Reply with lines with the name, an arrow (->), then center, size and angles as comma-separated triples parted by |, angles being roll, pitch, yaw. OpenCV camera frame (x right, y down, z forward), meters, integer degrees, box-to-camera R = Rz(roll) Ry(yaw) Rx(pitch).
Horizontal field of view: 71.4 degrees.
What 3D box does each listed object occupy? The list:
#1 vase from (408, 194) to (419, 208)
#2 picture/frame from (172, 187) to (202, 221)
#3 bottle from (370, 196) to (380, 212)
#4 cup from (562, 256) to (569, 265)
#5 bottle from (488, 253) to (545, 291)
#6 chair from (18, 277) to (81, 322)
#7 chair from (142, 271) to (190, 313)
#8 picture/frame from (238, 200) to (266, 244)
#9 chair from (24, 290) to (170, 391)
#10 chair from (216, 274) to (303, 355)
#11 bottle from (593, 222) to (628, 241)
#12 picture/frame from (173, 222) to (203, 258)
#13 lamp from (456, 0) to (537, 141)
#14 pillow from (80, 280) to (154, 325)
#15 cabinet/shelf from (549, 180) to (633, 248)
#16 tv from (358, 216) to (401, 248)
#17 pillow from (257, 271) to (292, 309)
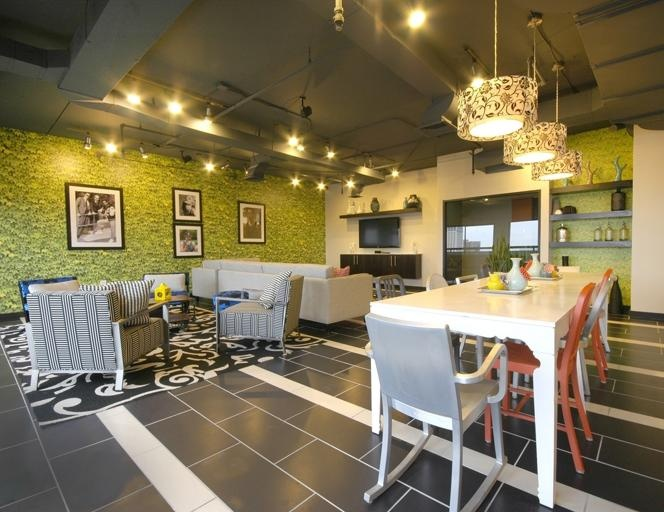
vase -> 1.882, -1.260, 10.670 | 0.277, 0.268, 0.284 | 0, -7, 7
picture/frame -> -2.977, -1.053, 9.674 | 0.715, 0.746, 0.047 | 5, 11, 19
bottle -> 1.090, -1.275, 11.521 | 0.318, 0.394, 0.316 | -1, -8, 12
cup -> 4.102, 0.085, 8.164 | 0.113, 0.188, 0.227 | 1, 3, 31
bottle -> 1.652, 0.207, 4.381 | 0.383, 0.341, 0.386 | -5, -7, 44
chair -> -3.171, 0.499, 5.241 | 0.484, 0.635, 0.658 | -1, -3, 31
chair -> -2.839, 0.605, 7.952 | 0.700, 0.571, 0.487 | -1, 7, -21
picture/frame -> -1.882, -0.795, 10.858 | 0.082, 1.207, 1.056 | 0, -1, 34
chair -> -2.664, 0.791, 5.165 | 0.982, 1.010, 1.180 | 2, 8, -6
chair -> -0.932, 0.681, 5.996 | 1.020, 0.920, 0.883 | 5, 11, 15
bottle -> 4.648, -0.400, 7.709 | 0.314, 0.289, 0.110 | 1, 4, 33
picture/frame -> -2.997, -0.328, 9.642 | 0.063, 0.834, 0.749 | 1, -1, 37
lamp -> 1.435, -1.305, 4.048 | 0.636, 0.436, 0.412 | 0, 2, 20
pillow -> -2.221, 0.505, 4.829 | 0.440, 0.208, 0.349 | 10, 37, -40
cabinet/shelf -> 4.402, -0.708, 7.797 | 1.177, 1.037, 0.383 | -3, -5, 43
tv -> 1.203, -0.586, 11.542 | 1.207, 0.758, 0.156 | 1, 4, 43
pillow -> -0.696, 0.448, 5.748 | 0.383, 0.460, 0.305 | 0, 3, -3
